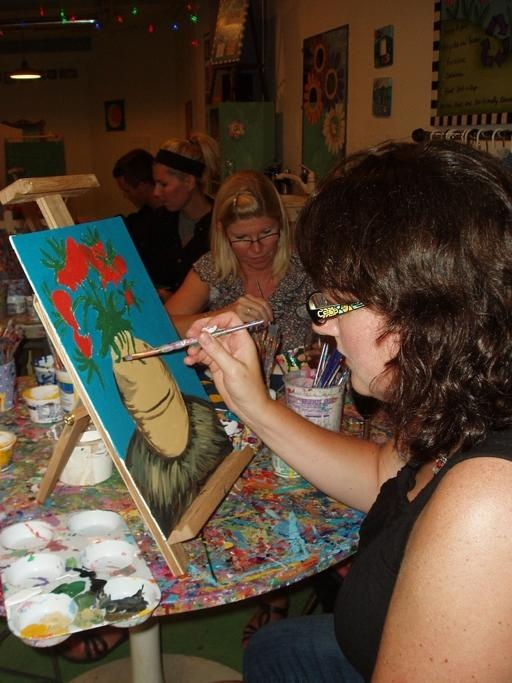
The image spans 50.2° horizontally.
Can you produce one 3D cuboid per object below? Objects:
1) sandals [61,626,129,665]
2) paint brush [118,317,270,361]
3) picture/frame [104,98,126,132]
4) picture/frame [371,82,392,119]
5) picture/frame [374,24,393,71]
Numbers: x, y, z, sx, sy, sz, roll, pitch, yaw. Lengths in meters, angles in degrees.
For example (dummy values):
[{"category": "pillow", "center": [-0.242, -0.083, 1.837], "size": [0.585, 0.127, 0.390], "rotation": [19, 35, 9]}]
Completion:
[{"category": "sandals", "center": [-0.459, 0.845, 1.515], "size": [0.118, 0.055, 0.158], "rotation": [-3, -5, 16]}, {"category": "paint brush", "center": [-0.123, -0.003, 1.065], "size": [0.330, 0.025, 0.036], "rotation": [-14, -2, -18]}, {"category": "picture/frame", "center": [-2.135, -3.451, 8.261], "size": [0.050, 0.470, 0.483], "rotation": [-15, 25, -35]}, {"category": "picture/frame", "center": [0.703, -1.355, 3.037], "size": [0.032, 0.220, 0.175], "rotation": [-3, 15, -19]}, {"category": "picture/frame", "center": [0.701, -1.610, 2.990], "size": [0.036, 0.213, 0.182], "rotation": [-2, 14, -17]}]
